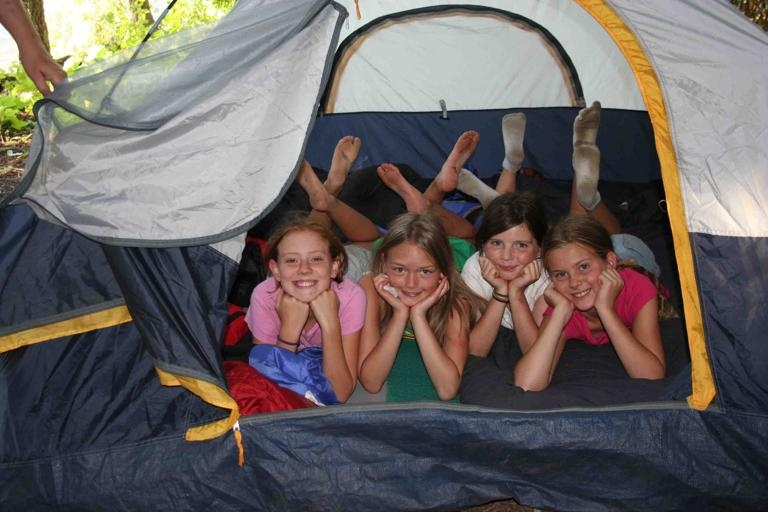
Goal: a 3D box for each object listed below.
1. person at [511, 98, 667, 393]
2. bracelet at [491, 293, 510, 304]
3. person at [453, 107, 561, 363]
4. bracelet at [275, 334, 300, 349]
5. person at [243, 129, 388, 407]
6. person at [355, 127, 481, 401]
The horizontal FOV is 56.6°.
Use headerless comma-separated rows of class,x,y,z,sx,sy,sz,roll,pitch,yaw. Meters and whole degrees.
person,1.190,-0.008,3.883,0.741,0.749,1.818,-3,22,24
bracelet,0.572,0.205,3.474,0.066,0.022,0.049,23,-9,4
person,0.711,-0.100,3.945,0.721,1.234,0.501,1,-21,13
bracelet,-0.439,0.389,3.307,0.069,0.049,0.070,3,14,-17
person,-0.344,0.059,3.511,0.507,0.657,1.283,7,35,-5
person,0.209,-0.055,3.897,0.662,0.635,1.747,7,35,3
